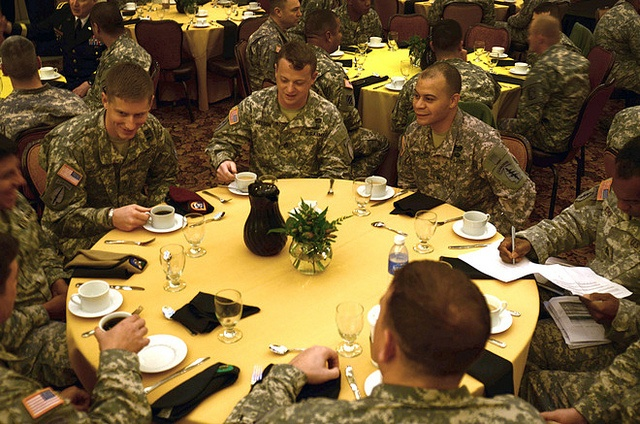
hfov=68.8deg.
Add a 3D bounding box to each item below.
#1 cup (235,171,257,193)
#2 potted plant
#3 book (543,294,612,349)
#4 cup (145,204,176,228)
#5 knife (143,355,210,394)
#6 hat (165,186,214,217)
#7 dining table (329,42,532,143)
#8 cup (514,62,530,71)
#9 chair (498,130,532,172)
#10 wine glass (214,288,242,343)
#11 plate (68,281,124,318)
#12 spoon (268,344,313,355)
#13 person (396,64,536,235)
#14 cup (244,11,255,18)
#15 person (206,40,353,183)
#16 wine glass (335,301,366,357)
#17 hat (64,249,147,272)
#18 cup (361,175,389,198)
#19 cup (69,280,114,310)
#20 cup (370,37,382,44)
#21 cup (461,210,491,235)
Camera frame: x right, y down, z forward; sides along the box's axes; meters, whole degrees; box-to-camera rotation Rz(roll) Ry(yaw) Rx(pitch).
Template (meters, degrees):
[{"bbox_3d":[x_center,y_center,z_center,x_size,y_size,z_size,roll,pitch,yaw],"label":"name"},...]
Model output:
[{"bbox_3d":[-0.474,-0.202,2.997,0.131,0.099,0.139,0,46,0],"label":"cup"},{"bbox_3d":[-0.046,0.140,2.475,0.387,0.274,0.360,-26,34,-36],"label":"potted plant"},{"bbox_3d":[1.355,0.577,2.498,0.233,0.056,0.241,-1,48,-8],"label":"book"},{"bbox_3d":[-0.914,0.041,2.713,0.149,0.110,0.114,2,40,-6],"label":"cup"},{"bbox_3d":[-0.588,0.676,1.913,0.259,0.012,0.029,-24,47,-33],"label":"knife"},{"bbox_3d":[-0.807,-0.070,2.851,0.215,0.067,0.174,31,30,11],"label":"hat"},{"bbox_3d":[1.101,-1.231,4.745,1.309,0.501,1.360,2,35,6],"label":"dining table"},{"bbox_3d":[2.135,-1.564,4.997,0.126,0.075,0.162,1,21,9],"label":"cup"},{"bbox_3d":[1.413,-0.470,3.403,0.243,0.238,0.300,10,16,32],"label":"chair"},{"bbox_3d":[-0.407,0.472,2.065,0.141,0.241,0.153,1,33,1],"label":"wine glass"},{"bbox_3d":[-1.059,0.412,2.190,0.206,0.126,0.160,4,42,-2],"label":"plate"},{"bbox_3d":[-0.128,0.610,2.043,0.197,0.037,0.054,-3,39,-6],"label":"spoon"},{"bbox_3d":[1.052,-0.442,3.416,0.717,1.123,0.980,-43,46,-12],"label":"person"},{"bbox_3d":[-1.067,-2.944,6.965,0.229,0.096,0.159,1,20,-1],"label":"cup"},{"bbox_3d":[-0.286,-0.705,3.522,1.079,0.965,0.553,2,36,-2],"label":"person"},{"bbox_3d":[0.126,0.512,2.002,0.147,0.250,0.161,2,31,4],"label":"wine glass"},{"bbox_3d":[-1.089,0.248,2.403,0.271,0.068,0.172,3,15,-2],"label":"hat"},{"bbox_3d":[0.338,-0.145,2.898,0.109,0.101,0.144,-28,41,-35],"label":"cup"},{"bbox_3d":[-1.063,0.386,2.182,0.156,0.095,0.121,-10,44,-19],"label":"cup"},{"bbox_3d":[0.712,-2.174,5.995,0.133,0.101,0.133,-2,26,1],"label":"cup"},{"bbox_3d":[0.876,0.064,2.655,0.107,0.100,0.147,3,20,14],"label":"cup"}]
